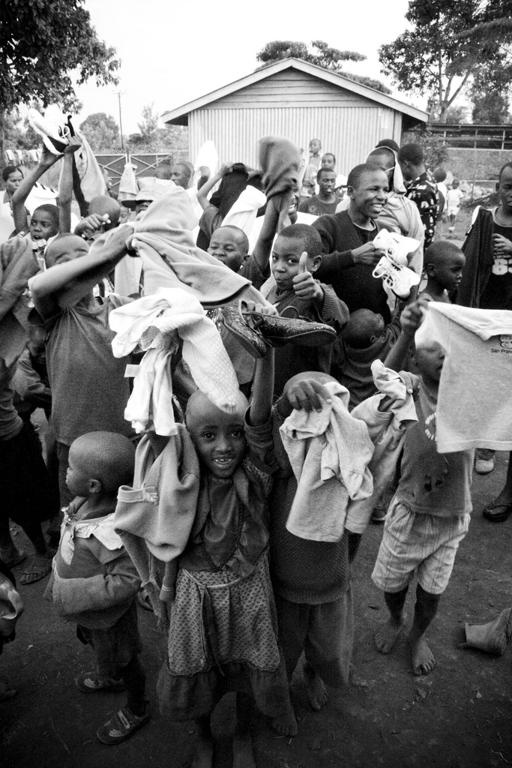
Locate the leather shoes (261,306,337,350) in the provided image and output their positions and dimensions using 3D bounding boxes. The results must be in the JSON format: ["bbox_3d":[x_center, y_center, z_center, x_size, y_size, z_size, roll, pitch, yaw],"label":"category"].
[{"bbox_3d":[0.138,-0.148,1.696,0.239,0.105,0.085,2,13,20],"label":"leather shoes"}]

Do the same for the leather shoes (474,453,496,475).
[{"bbox_3d":[1.571,0.545,4.328,0.076,0.104,0.235,-4,6,18],"label":"leather shoes"}]

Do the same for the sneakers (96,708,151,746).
[{"bbox_3d":[-0.480,1.213,2.277,0.070,0.078,0.166,26,9,33],"label":"sneakers"}]

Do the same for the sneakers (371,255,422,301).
[{"bbox_3d":[0.612,-0.500,2.869,0.098,0.138,0.254,19,18,-41],"label":"sneakers"}]

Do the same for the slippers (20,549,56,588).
[{"bbox_3d":[-1.142,0.951,3.293,0.079,0.094,0.225,-3,2,7],"label":"slippers"}]

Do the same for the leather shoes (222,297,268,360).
[{"bbox_3d":[-0.032,-0.165,1.781,0.115,0.131,0.365,-2,20,-2],"label":"leather shoes"}]
